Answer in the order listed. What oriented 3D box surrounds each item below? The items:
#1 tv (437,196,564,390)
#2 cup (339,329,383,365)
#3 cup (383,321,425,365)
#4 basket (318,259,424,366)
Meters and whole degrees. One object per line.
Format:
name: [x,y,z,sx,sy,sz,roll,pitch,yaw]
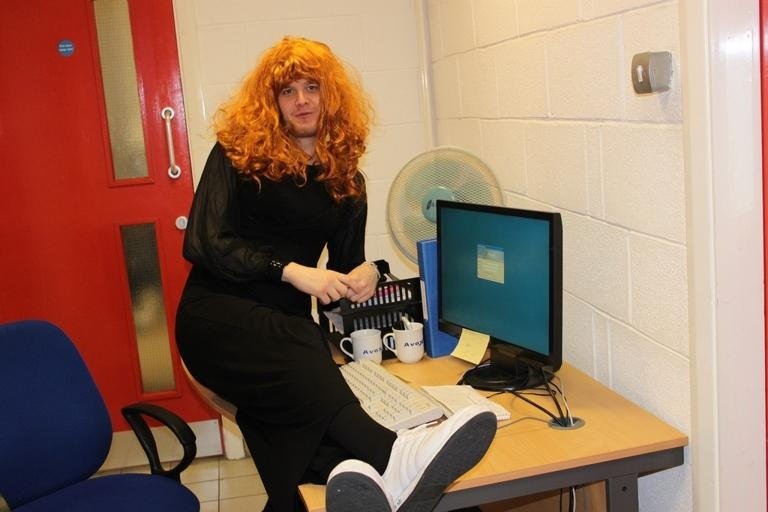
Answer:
tv: [0.384,0.126,2.104,0.295,0.605,0.635,-6,8,-26]
cup: [-0.087,0.360,2.316,0.191,0.140,0.120,-7,-2,24]
cup: [0.066,0.338,2.291,0.156,0.122,0.099,-3,-6,-12]
basket: [-0.027,0.181,2.308,0.338,0.203,0.334,-6,13,-12]
